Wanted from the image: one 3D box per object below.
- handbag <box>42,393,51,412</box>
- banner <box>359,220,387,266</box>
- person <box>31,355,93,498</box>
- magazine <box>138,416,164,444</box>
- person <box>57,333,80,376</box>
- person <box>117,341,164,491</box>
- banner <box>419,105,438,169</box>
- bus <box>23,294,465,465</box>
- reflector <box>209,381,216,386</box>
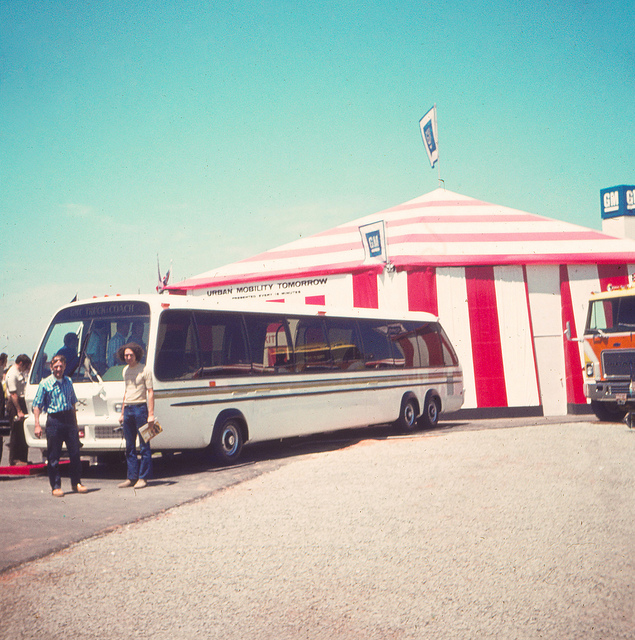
[{"bbox_3d":[-3.684,1.121,8.524,0.203,0.238,0.057,-6,-6,44],"label":"handbag"},{"bbox_3d":[1.795,-2.461,20.596,0.927,1.533,0.127,-9,-23,17],"label":"banner"},{"bbox_3d":[-3.480,1.435,8.542,0.691,1.899,0.525,1,-4,-28],"label":"person"},{"bbox_3d":[-2.323,1.549,8.706,0.286,0.314,0.248,0,-4,-21],"label":"magazine"},{"bbox_3d":[-3.914,0.574,9.919,0.369,0.778,0.257,-7,-44,-8],"label":"person"},{"bbox_3d":[-2.574,1.365,9.036,0.559,2.043,1.044,0,-4,-20],"label":"person"},{"bbox_3d":[4.569,-7.356,25.558,0.623,2.658,2.299,-2,-4,11],"label":"banner"},{"bbox_3d":[0.001,0.923,14.136,2.928,3.737,11.431,-4,-7,34],"label":"bus"},{"bbox_3d":[-1.735,1.057,10.354,0.071,0.092,0.020,-3,2,-30],"label":"reflector"}]
